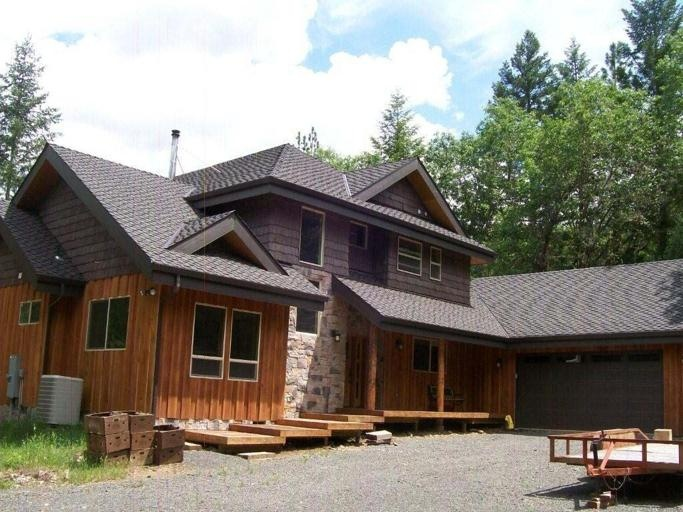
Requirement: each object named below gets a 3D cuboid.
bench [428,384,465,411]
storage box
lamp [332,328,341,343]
[{"bbox_3d":[3.838,5.261,22.293,0.640,0.947,1.377,-11,-16,42],"label":"bench"},{"bbox_3d":[-4.186,3.736,12.222,1.851,1.059,0.522,5,-4,-30],"label":"storage box"},{"bbox_3d":[-0.163,2.633,19.898,0.138,0.439,0.416,1,-4,34],"label":"lamp"}]
